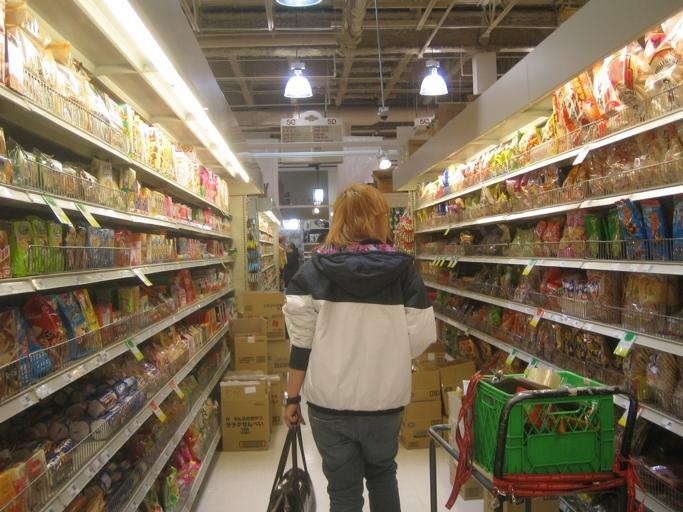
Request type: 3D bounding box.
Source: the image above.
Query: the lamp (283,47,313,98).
[{"bbox_3d":[-0.638,-2.628,7.036,0.421,0.555,0.452,5,8,26],"label":"lamp"}]

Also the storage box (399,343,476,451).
[{"bbox_3d":[0.768,1.261,4.596,0.581,1.279,0.840,4,-7,-14],"label":"storage box"}]

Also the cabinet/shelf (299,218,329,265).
[{"bbox_3d":[-0.922,-0.382,15.898,0.813,1.672,0.509,3,-14,-9],"label":"cabinet/shelf"}]

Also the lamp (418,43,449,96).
[{"bbox_3d":[1.382,-2.797,7.164,0.372,0.790,0.436,4,8,18],"label":"lamp"}]

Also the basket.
[{"bbox_3d":[0.915,0.792,2.164,0.623,0.353,0.675,10,-20,-22],"label":"basket"}]

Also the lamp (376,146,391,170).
[{"bbox_3d":[0.692,-1.594,7.583,0.178,0.125,0.329,-2,-23,-2],"label":"lamp"}]
